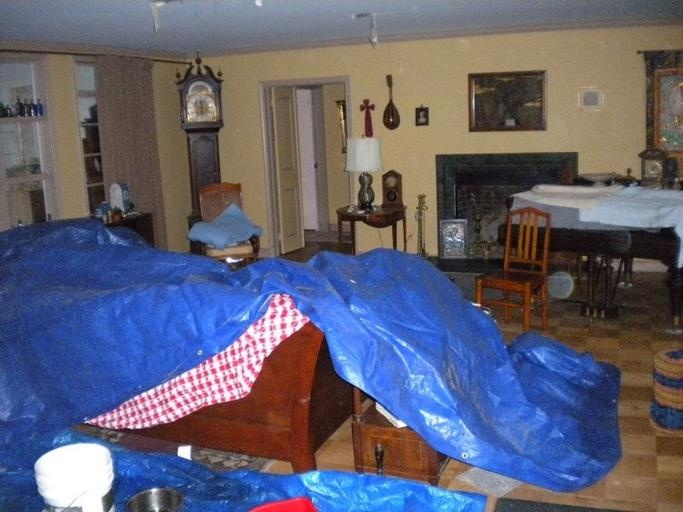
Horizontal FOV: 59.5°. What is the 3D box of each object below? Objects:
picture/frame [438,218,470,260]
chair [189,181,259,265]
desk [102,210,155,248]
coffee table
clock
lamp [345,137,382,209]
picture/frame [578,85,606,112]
[{"bbox_3d":[1.302,-0.196,7.164,0.419,0.622,0.462,1,3,15],"label":"picture/frame"},{"bbox_3d":[-1.345,-0.267,6.866,0.620,1.024,0.669,-7,29,-21],"label":"chair"},{"bbox_3d":[-2.012,-0.265,5.569,0.269,0.473,0.501,2,6,12],"label":"desk"},{"bbox_3d":[0.373,-0.293,7.047,0.748,0.637,1.043,-1,8,8],"label":"coffee table"},{"bbox_3d":[-1.782,-1.971,7.471,0.530,0.775,0.346,-4,9,-13],"label":"clock"},{"bbox_3d":[0.251,-0.898,6.621,0.466,0.795,0.436,-3,2,26],"label":"lamp"},{"bbox_3d":[2.795,-1.765,6.638,0.306,0.307,0.027,-1,6,11],"label":"picture/frame"}]
